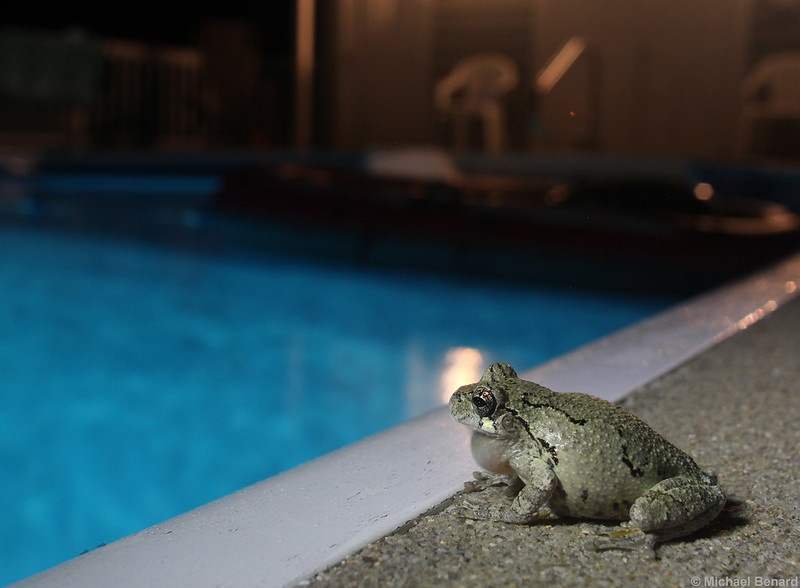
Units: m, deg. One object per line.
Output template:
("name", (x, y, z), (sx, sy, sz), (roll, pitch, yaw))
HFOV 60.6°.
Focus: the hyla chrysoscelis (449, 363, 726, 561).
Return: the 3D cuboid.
("hyla chrysoscelis", (0.340, 0.287, 1.302), (0.487, 0.223, 0.492), (1, 12, 14))
